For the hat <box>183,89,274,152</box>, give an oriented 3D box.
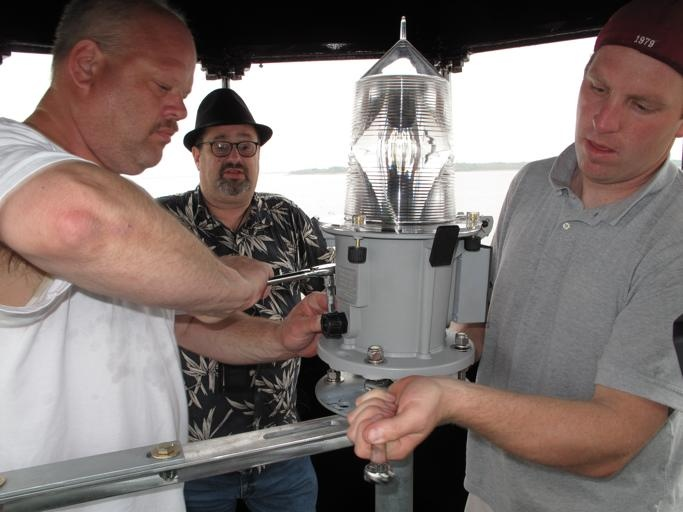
[{"bbox_3d":[-0.664,-0.729,3.406,0.420,0.164,0.396,-3,-14,-7],"label":"hat"}]
